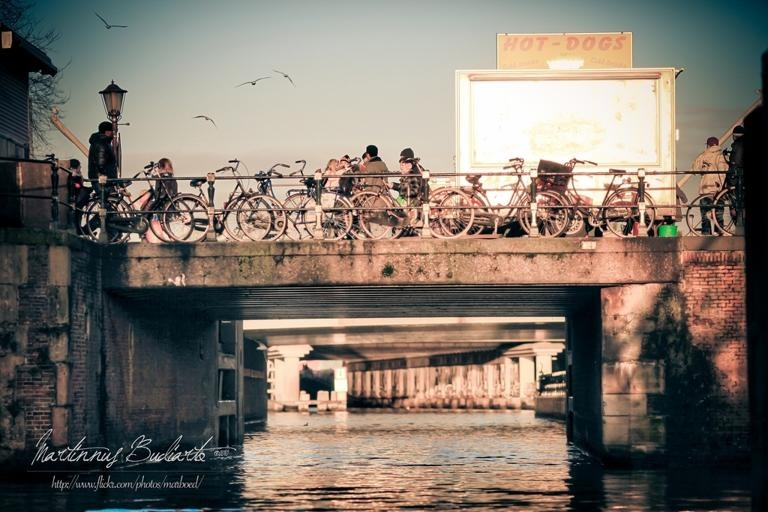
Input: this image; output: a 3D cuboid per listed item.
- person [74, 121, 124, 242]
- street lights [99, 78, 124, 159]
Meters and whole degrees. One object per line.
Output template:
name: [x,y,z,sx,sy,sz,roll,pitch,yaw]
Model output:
person: [-6.779,-1.501,43.731,0.955,3.208,1.278,2,0,-17]
street lights: [-6.799,-3.144,46.530,0.707,2.508,0.775,-4,5,-16]
